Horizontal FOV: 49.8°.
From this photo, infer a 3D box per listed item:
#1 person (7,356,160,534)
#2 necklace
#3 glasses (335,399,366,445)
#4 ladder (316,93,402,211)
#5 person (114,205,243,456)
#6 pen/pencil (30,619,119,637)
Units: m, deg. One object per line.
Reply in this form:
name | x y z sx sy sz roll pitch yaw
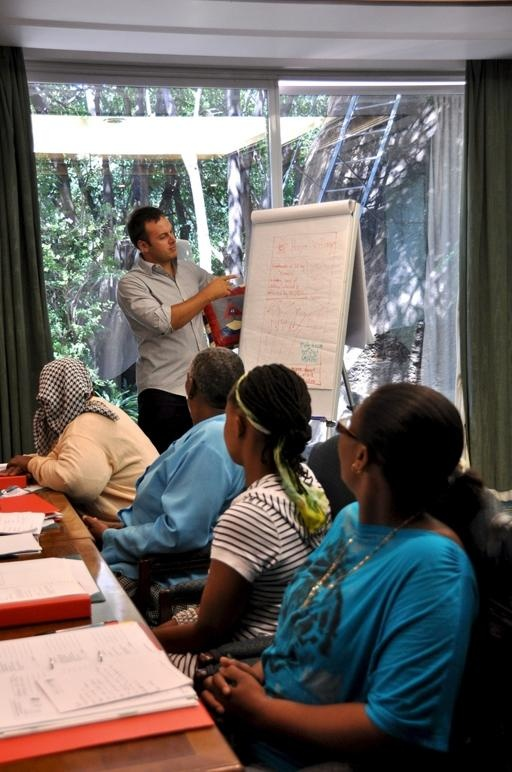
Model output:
person | -0.617 0.211 2.437 0.670 0.859 0.570 -1 1 -6
necklace | 0.144 0.270 0.801 0.079 0.261 0.033 28 31 -7
glasses | 0.138 0.053 0.792 0.051 0.015 0.049 -7 26 8
ladder | 0.793 -1.747 4.141 0.709 0.819 0.095 -8 12 -19
person | -0.397 -0.054 3.605 0.666 2.053 0.745 21 31 37
pen/pencil | -0.276 0.364 0.825 0.091 0.007 0.009 -4 19 -24
